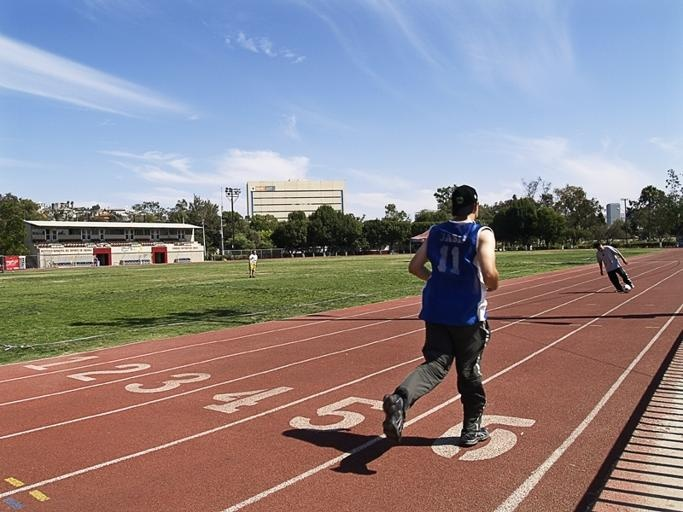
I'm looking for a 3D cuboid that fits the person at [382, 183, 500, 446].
[{"bbox_3d":[1.036,0.661,4.713,1.027,2.741,1.465,-1,4,18],"label":"person"}]

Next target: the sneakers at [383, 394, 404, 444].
[{"bbox_3d":[0.498,1.471,4.317,0.161,0.430,0.226,-6,-5,15],"label":"sneakers"}]

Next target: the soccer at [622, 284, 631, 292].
[{"bbox_3d":[10.043,1.122,16.504,0.221,0.283,0.545,0,4,30],"label":"soccer"}]
